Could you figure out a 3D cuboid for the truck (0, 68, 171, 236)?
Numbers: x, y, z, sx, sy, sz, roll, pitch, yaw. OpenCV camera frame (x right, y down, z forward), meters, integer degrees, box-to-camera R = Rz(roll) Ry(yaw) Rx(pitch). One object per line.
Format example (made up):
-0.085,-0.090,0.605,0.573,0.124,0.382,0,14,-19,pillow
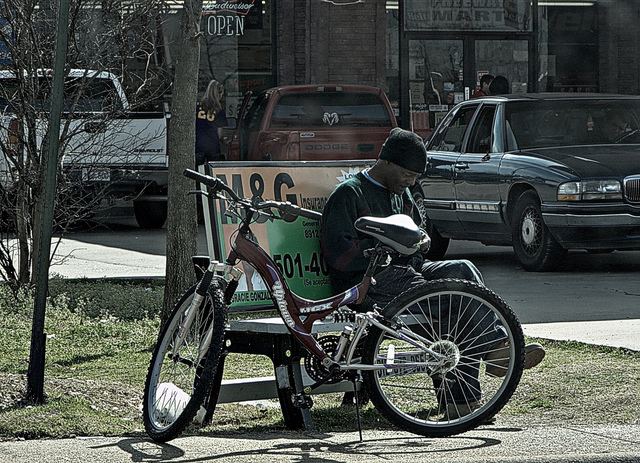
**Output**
-2.964,-1.103,13.725,2.072,1.747,3.872,-1,7,-22,truck

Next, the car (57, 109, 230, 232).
-2.308,-0.952,18.402,1.768,1.615,3.682,6,0,-3,car

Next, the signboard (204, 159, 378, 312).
-0.202,0.035,9.046,1.621,1.170,0.139,0,-8,-40,signboard

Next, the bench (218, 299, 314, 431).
-0.358,0.963,8.174,1.000,0.740,0.772,-1,4,-31,bench

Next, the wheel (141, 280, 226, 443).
-0.911,0.853,7.597,0.591,1.041,0.891,0,10,2,wheel

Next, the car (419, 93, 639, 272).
2.577,-0.655,14.013,1.899,1.319,3.078,0,0,-24,car

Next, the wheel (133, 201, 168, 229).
-2.894,-0.284,19.081,0.682,0.508,0.681,0,-1,0,wheel

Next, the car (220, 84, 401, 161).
-0.236,-1.650,16.865,1.577,1.129,2.510,-2,9,-18,car
